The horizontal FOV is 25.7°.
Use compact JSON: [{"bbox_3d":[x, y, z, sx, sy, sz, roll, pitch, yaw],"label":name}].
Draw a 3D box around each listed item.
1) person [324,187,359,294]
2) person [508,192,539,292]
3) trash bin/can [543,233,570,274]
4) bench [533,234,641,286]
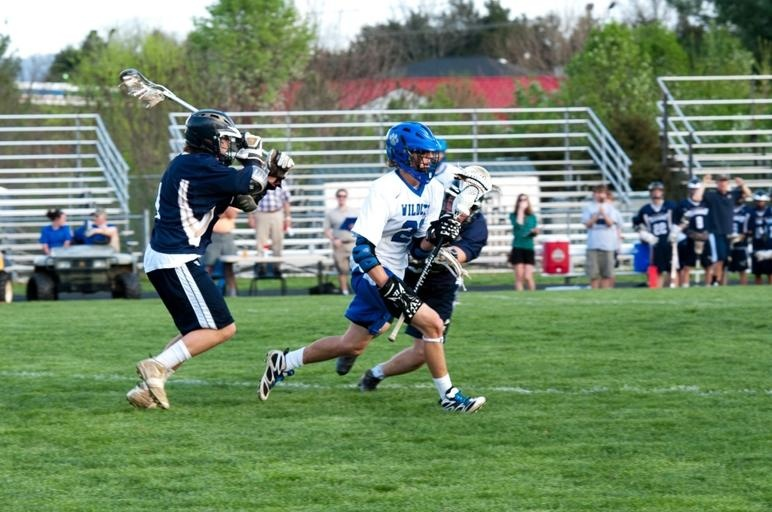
[{"bbox_3d":[-1.001,-0.347,38.427,1.043,2.246,0.814,3,0,-1],"label":"person"},{"bbox_3d":[2.998,-0.297,37.927,0.912,1.870,0.702,2,2,6],"label":"person"},{"bbox_3d":[3.973,-0.016,39.371,0.583,0.698,0.481,-2,-1,0],"label":"trash bin/can"},{"bbox_3d":[4.870,0.024,40.951,2.026,1.289,2.004,0,-13,3],"label":"bench"}]
